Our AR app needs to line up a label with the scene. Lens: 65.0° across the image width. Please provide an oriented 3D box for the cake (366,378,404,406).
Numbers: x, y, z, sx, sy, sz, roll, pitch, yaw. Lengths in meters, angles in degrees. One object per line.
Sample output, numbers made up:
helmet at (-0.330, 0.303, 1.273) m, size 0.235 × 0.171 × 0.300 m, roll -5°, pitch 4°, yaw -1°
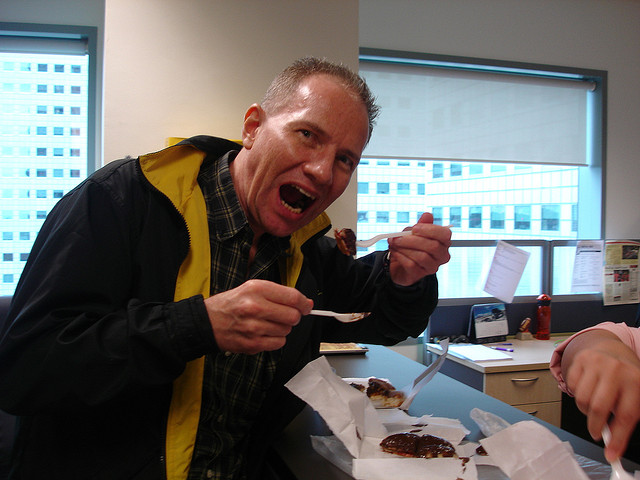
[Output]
cake at (0.217, 0.519, 1.702) m, size 0.083 × 0.037 × 0.111 m, roll 2°, pitch 1°, yaw -1°

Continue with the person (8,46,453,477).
person at (-0.222, 0.093, 1.501) m, size 1.171 × 1.308 × 0.558 m, roll 2°, pitch 5°, yaw -32°

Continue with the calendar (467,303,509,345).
calendar at (1.071, 0.524, 3.234) m, size 0.239 × 0.248 × 0.134 m, roll 1°, pitch 6°, yaw -19°

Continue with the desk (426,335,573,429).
desk at (1.078, 0.971, 2.851) m, size 0.575 × 0.507 × 0.392 m, roll 4°, pitch -13°, yaw -25°

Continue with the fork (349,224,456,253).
fork at (0.318, -0.004, 2.025) m, size 0.470 × 0.068 × 0.091 m, roll -14°, pitch -1°, yaw 21°
